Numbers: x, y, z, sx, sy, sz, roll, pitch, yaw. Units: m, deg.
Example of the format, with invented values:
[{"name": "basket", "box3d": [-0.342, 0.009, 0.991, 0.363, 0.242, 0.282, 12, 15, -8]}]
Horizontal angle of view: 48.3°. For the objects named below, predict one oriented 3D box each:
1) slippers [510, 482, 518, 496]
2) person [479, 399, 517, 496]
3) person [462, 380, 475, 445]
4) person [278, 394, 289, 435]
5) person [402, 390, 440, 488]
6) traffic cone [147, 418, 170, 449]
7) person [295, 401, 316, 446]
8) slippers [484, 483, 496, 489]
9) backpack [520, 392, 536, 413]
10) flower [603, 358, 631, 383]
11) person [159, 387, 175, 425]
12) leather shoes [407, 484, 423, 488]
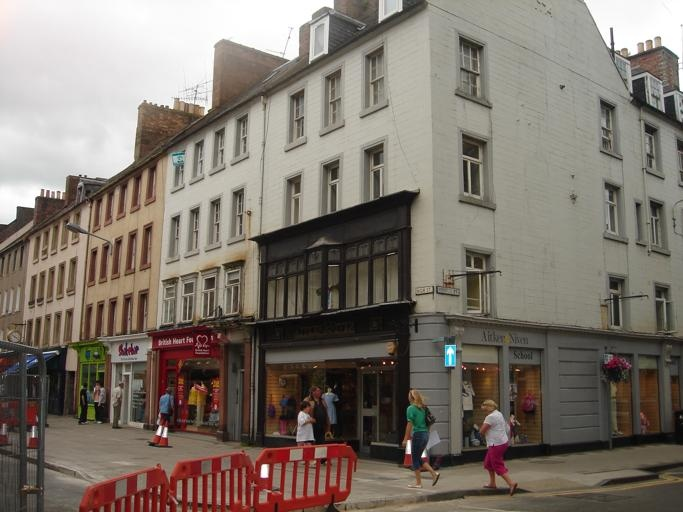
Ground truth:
[{"name": "slippers", "box3d": [4.248, 5.723, 18.704, 0.127, 0.386, 0.144, 7, -5, 15]}, {"name": "person", "box3d": [3.996, 4.820, 19.414, 0.824, 2.379, 1.190, -3, -14, 12]}, {"name": "person", "box3d": [3.966, 4.904, 23.696, 0.625, 1.981, 0.172, 12, -18, -41]}, {"name": "person", "box3d": [-2.110, 5.791, 27.851, 0.477, 1.399, 0.142, -12, -18, 39]}, {"name": "person", "box3d": [2.055, 4.681, 19.594, 0.811, 2.441, 1.179, -1, -14, 6]}, {"name": "traffic cone", "box3d": [-6.575, 6.451, 27.477, 0.930, 1.132, 0.940, 12, -11, -23]}, {"name": "person", "box3d": [-1.033, 4.921, 22.440, 0.500, 1.251, 1.283, 0, -15, -2]}, {"name": "slippers", "box3d": [3.754, 5.774, 19.156, 0.303, 0.109, 0.124, -1, -10, 33]}, {"name": "backpack", "box3d": [6.263, 4.908, 25.474, 0.422, 0.636, 0.217, 2, 0, -6]}, {"name": "flower", "box3d": [9.874, 4.018, 26.840, 0.845, 0.919, 0.852, 8, -10, -29]}, {"name": "person", "box3d": [-6.870, 5.897, 29.550, 0.521, 1.707, 0.468, 8, 13, -8]}, {"name": "leather shoes", "box3d": [1.853, 5.775, 19.117, 0.341, 0.150, 0.154, 0, -8, 22]}]
